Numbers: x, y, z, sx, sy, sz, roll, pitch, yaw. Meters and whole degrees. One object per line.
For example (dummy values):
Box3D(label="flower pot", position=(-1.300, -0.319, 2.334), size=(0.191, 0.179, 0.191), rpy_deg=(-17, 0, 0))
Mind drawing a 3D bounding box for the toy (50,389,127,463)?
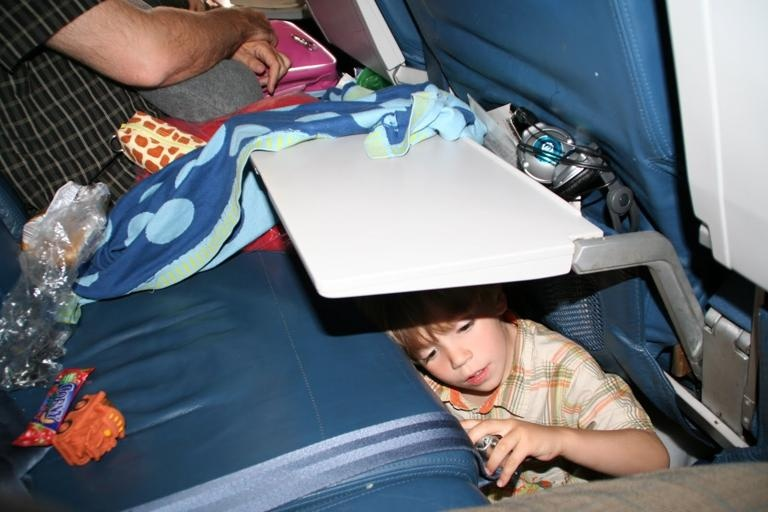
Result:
Box3D(label="toy", position=(-0.630, 0.364, 1.124), size=(0.141, 0.057, 0.134), rpy_deg=(18, 47, 34))
